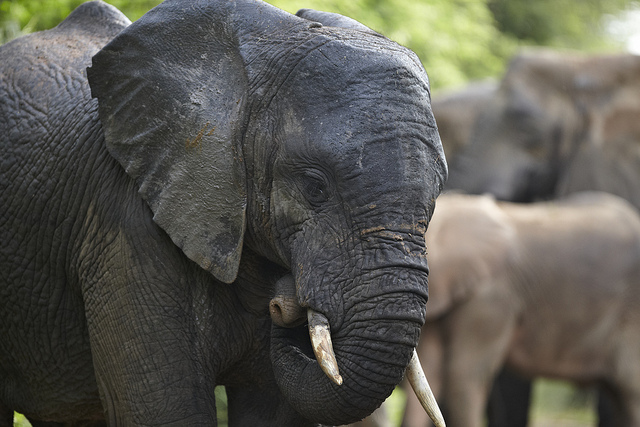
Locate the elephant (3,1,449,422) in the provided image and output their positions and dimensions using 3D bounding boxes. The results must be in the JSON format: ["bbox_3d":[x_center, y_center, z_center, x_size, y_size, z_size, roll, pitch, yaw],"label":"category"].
[{"bbox_3d":[-0.257,0.104,3.878,1.909,1.256,1.525,-11,78,32],"label":"elephant"}]
